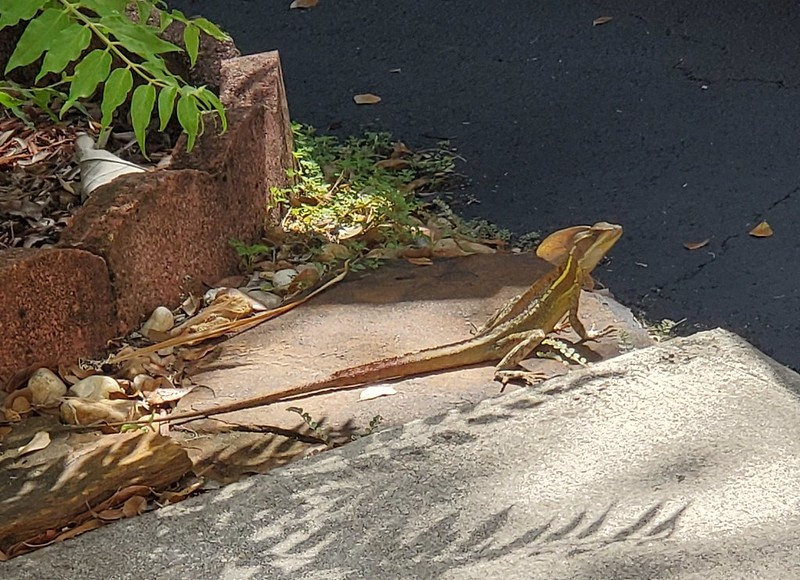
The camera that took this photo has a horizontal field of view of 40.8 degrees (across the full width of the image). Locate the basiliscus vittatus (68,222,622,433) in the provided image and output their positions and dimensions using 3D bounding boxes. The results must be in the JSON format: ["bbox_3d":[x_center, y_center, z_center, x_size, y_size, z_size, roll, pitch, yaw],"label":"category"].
[{"bbox_3d":[0.361,0.250,5.894,1.997,1.196,0.715,-11,50,-37],"label":"basiliscus vittatus"}]
